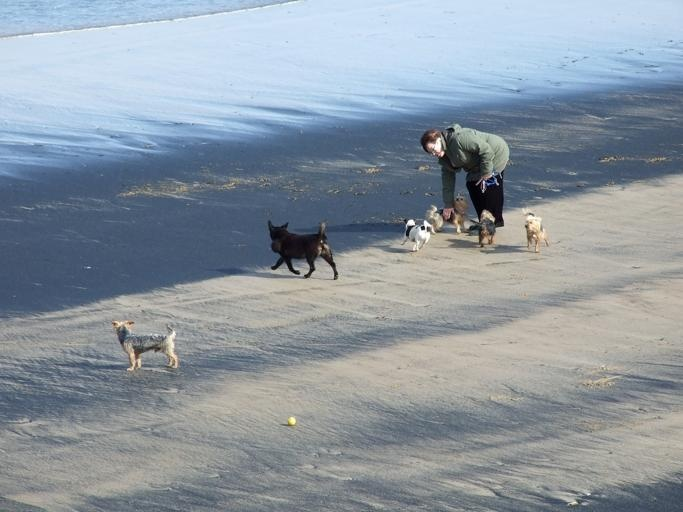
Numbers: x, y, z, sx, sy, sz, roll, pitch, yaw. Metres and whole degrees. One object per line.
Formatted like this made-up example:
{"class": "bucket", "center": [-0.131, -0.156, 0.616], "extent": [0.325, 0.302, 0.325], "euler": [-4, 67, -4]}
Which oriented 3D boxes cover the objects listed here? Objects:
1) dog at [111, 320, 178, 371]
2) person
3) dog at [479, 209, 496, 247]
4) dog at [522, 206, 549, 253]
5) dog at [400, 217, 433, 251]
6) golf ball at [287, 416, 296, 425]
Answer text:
{"class": "dog", "center": [-2.493, 1.124, 14.200], "extent": [0.708, 0.611, 0.466], "euler": [-8, 13, -10]}
{"class": "person", "center": [2.078, -1.301, 17.897], "extent": [1.368, 1.720, 0.748], "euler": [-8, 14, -2]}
{"class": "dog", "center": [2.367, -0.465, 17.936], "extent": [0.297, 0.588, 0.360], "euler": [-6, 13, 8]}
{"class": "dog", "center": [3.064, -0.409, 17.657], "extent": [0.377, 0.581, 1.039], "euler": [-1, 0, 18]}
{"class": "dog", "center": [1.237, -0.373, 17.940], "extent": [0.524, 0.506, 0.814], "euler": [-6, 11, 3]}
{"class": "golf ball", "center": [-0.569, 1.951, 13.079], "extent": [0.106, 0.047, 0.096], "euler": [-2, 23, -40]}
